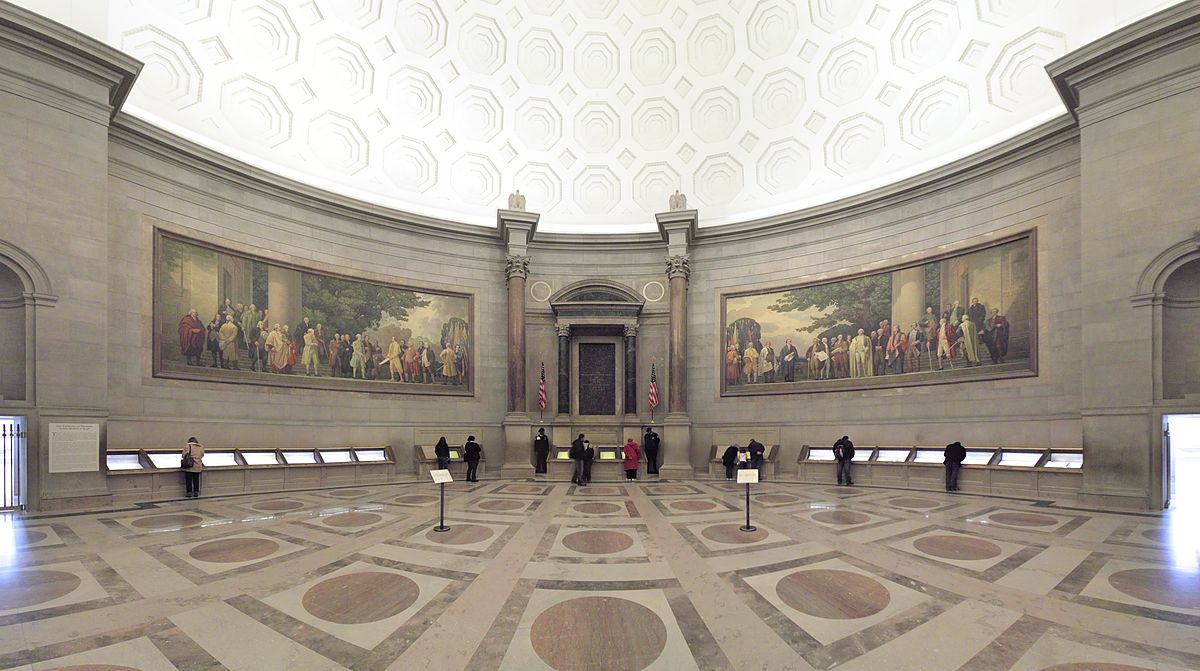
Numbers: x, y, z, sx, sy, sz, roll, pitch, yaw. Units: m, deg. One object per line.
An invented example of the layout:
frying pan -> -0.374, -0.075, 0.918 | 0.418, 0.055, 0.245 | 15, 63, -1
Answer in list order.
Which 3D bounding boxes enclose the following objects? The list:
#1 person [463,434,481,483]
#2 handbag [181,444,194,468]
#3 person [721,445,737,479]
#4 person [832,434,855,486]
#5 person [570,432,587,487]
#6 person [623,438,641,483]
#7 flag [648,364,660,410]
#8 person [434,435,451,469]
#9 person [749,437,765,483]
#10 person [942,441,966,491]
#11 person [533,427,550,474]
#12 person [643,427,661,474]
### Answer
person -> -4.893, 4.721, 25.935 | 0.644, 1.722, 1.125 | 1, -6, -12
handbag -> -13.495, 3.955, 22.051 | 0.399, 0.754, 0.163 | -2, -6, 20
person -> 5.026, 4.876, 25.995 | 0.631, 1.207, 0.564 | -1, -6, 10
person -> 8.889, 4.555, 24.523 | 0.686, 1.724, 0.721 | -1, -6, 12
person -> -0.803, 4.649, 25.201 | 0.571, 1.784, 1.071 | 0, -6, -1
person -> 1.166, 4.759, 25.649 | 0.531, 1.530, 0.732 | 0, -6, 2
flag -> 2.238, 2.148, 27.755 | 0.413, 1.897, 0.874 | -1, -6, 8
person -> -6.022, 4.484, 25.817 | 0.591, 1.152, 1.198 | 1, -6, -13
person -> 6.025, 4.772, 25.888 | 0.574, 1.495, 1.080 | -1, -6, 12
person -> 12.066, 4.470, 22.902 | 0.647, 1.655, 0.658 | -2, -6, 18
person -> -2.301, 4.559, 26.440 | 0.704, 1.792, 1.228 | 1, -6, -6
person -> 2.057, 4.578, 26.680 | 0.615, 1.857, 0.932 | -1, -6, 9
